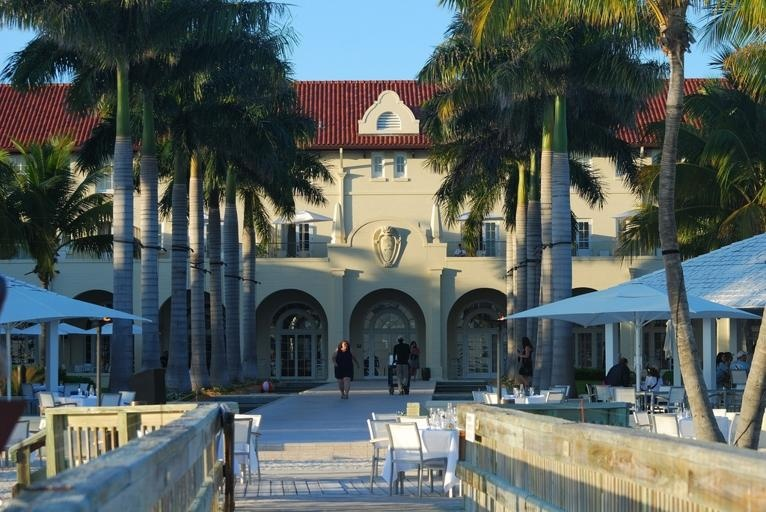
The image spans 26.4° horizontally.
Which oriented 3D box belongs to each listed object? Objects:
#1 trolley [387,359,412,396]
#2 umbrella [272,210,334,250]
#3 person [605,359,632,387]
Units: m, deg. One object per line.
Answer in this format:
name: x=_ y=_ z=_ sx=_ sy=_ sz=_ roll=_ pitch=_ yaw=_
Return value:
trolley: x=0.401 y=4.033 z=54.336 sx=0.830 sy=1.284 sz=0.886 roll=2 pitch=0 yaw=-22
umbrella: x=-3.217 y=-1.051 z=63.308 sx=2.192 sy=1.563 sz=4.022 roll=-2 pitch=-12 yaw=-4
person: x=6.632 y=3.364 z=46.515 sx=0.359 sy=1.273 sz=0.491 roll=18 pitch=-4 yaw=-43
